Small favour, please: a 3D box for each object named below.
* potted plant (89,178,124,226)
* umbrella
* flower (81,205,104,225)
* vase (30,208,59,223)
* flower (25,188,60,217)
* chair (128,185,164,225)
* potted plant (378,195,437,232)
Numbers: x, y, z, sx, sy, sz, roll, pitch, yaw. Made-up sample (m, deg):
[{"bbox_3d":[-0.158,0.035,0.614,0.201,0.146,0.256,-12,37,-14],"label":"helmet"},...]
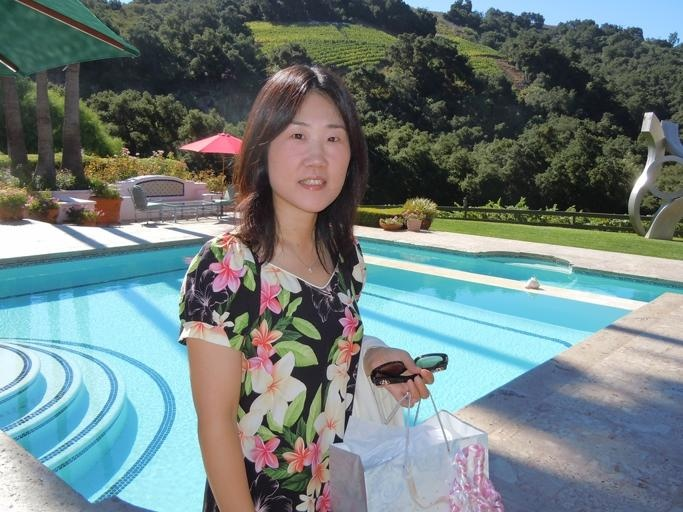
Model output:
[{"bbox_3d":[-6.406,-1.502,13.017,0.800,1.159,0.660,0,9,-29],"label":"potted plant"},{"bbox_3d":[-3.490,-3.011,15.016,1.892,1.543,1.829,-15,8,-33],"label":"umbrella"},{"bbox_3d":[-6.324,-0.939,12.083,0.476,0.473,0.441,-6,24,-38],"label":"flower"},{"bbox_3d":[-7.124,-0.968,11.456,0.375,0.329,0.427,1,4,-2],"label":"vase"},{"bbox_3d":[-7.273,-1.253,11.539,0.621,0.526,0.657,24,21,36],"label":"flower"},{"bbox_3d":[-5.429,-1.474,13.280,0.676,1.065,0.586,-4,6,15],"label":"chair"},{"bbox_3d":[1.956,-1.102,13.613,1.058,0.852,1.140,0,7,26],"label":"potted plant"}]
